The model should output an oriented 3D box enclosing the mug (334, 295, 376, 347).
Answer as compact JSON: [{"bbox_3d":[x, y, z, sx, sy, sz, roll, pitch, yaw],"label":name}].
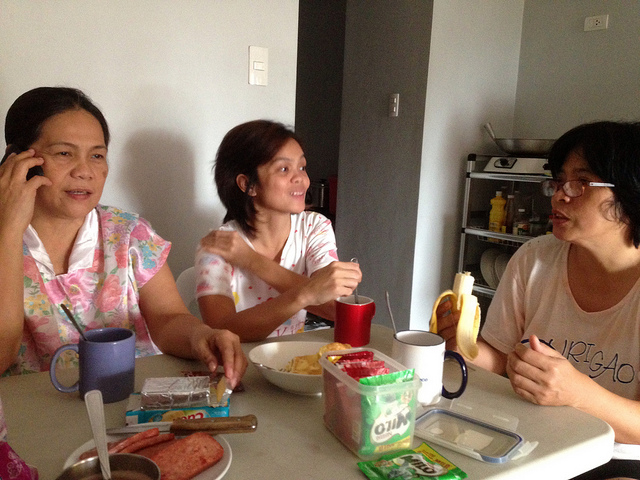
[{"bbox_3d":[0.106,0.231,1.375,0.136,0.121,0.105,0,6,-19],"label":"mug"}]

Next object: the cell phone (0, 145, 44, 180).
[{"bbox_3d":[-0.824,-0.216,1.343,0.103,0.100,0.028,-2,5,32],"label":"cell phone"}]

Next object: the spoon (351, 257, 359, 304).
[{"bbox_3d":[0.109,0.130,1.428,0.026,0.166,0.029,-1,3,-11],"label":"spoon"}]

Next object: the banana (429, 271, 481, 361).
[{"bbox_3d":[0.370,0.176,1.271,0.161,0.185,0.098,13,17,37],"label":"banana"}]

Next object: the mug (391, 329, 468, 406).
[{"bbox_3d":[0.243,0.298,1.066,0.180,0.129,0.110,6,-3,29],"label":"mug"}]

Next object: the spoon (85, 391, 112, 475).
[{"bbox_3d":[-0.346,0.297,0.758,0.025,0.176,0.013,-1,-30,-33],"label":"spoon"}]

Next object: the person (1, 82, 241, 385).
[{"bbox_3d":[-0.606,-0.005,1.352,0.635,0.831,0.454,2,11,0],"label":"person"}]

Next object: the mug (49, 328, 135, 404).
[{"bbox_3d":[-0.493,0.278,1.044,0.172,0.124,0.104,-2,5,-26],"label":"mug"}]

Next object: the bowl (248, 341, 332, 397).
[{"bbox_3d":[-0.081,0.298,1.144,0.176,0.070,0.239,2,10,0],"label":"bowl"}]

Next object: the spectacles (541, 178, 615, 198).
[{"bbox_3d":[0.768,-0.160,1.494,0.116,0.066,0.284,2,10,-1],"label":"spectacles"}]
